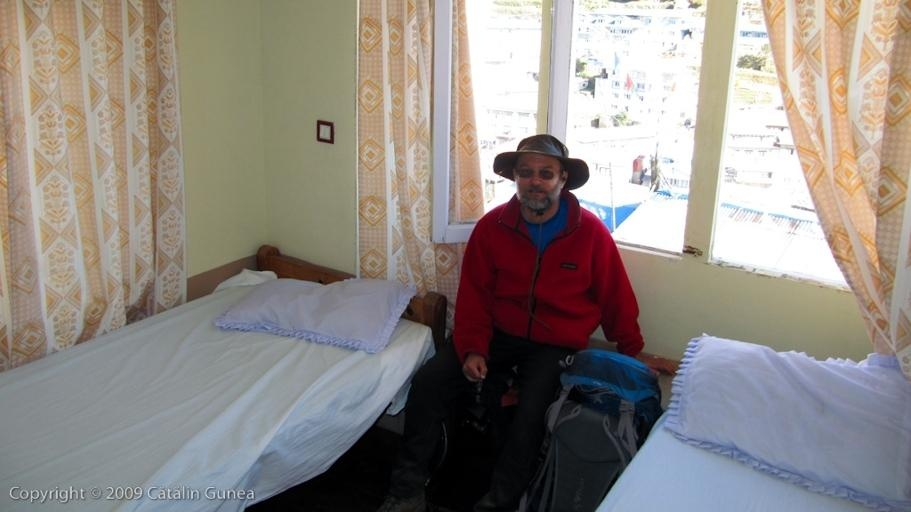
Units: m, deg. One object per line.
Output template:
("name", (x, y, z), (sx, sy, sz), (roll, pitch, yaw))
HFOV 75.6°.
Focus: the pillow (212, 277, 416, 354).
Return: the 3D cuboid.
("pillow", (-0.833, 0.321, 3.393), (0.826, 0.133, 0.507), (8, 33, 13))
